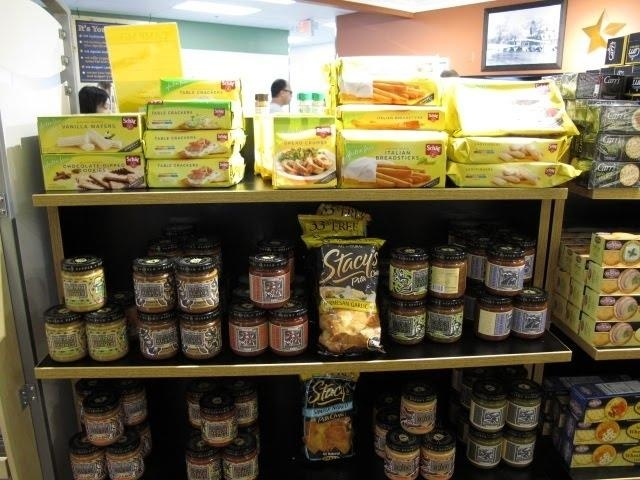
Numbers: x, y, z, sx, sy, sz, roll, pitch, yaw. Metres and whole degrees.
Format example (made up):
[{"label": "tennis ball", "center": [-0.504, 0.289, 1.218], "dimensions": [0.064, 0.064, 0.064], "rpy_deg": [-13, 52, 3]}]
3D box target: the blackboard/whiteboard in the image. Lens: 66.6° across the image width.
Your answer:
[{"label": "blackboard/whiteboard", "center": [-3.777, -3.097, 8.025], "dimensions": [0.501, 0.995, 0.473], "rpy_deg": [-11, 20, -20]}]
